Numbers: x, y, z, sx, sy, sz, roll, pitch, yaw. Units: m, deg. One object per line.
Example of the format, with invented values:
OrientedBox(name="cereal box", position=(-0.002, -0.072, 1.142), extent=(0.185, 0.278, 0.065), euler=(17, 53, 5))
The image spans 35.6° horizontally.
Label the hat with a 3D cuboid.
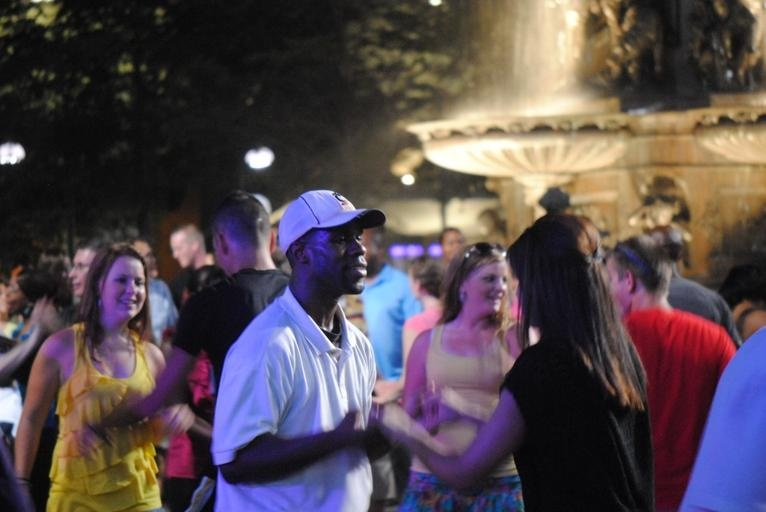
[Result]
OrientedBox(name="hat", position=(-0.495, -0.353, 9.944), extent=(0.878, 0.462, 0.630), euler=(-25, -12, 38))
